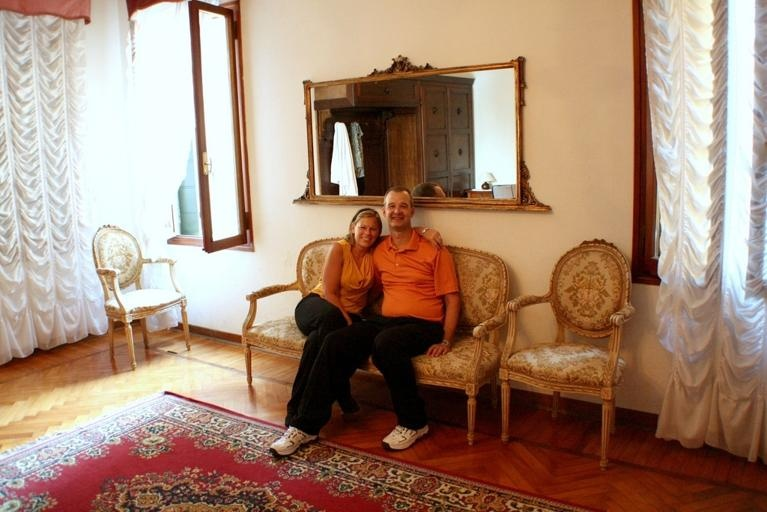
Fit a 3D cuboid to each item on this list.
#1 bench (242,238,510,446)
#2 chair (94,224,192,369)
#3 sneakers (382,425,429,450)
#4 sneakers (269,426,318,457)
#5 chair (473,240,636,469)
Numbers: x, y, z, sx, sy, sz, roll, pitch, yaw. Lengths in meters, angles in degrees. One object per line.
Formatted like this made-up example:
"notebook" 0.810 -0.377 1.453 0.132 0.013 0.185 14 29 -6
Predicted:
"bench" -0.099 0.501 4.081 2.014 1.199 0.861 4 10 29
"chair" -2.225 0.321 5.029 0.670 1.192 0.694 5 11 24
"sneakers" 0.146 1.139 3.529 0.300 0.134 0.109 -4 5 -42
"sneakers" -0.567 1.162 3.503 0.293 0.133 0.126 -1 4 -44
"chair" 1.135 0.556 3.456 0.818 1.261 0.820 -2 8 8
